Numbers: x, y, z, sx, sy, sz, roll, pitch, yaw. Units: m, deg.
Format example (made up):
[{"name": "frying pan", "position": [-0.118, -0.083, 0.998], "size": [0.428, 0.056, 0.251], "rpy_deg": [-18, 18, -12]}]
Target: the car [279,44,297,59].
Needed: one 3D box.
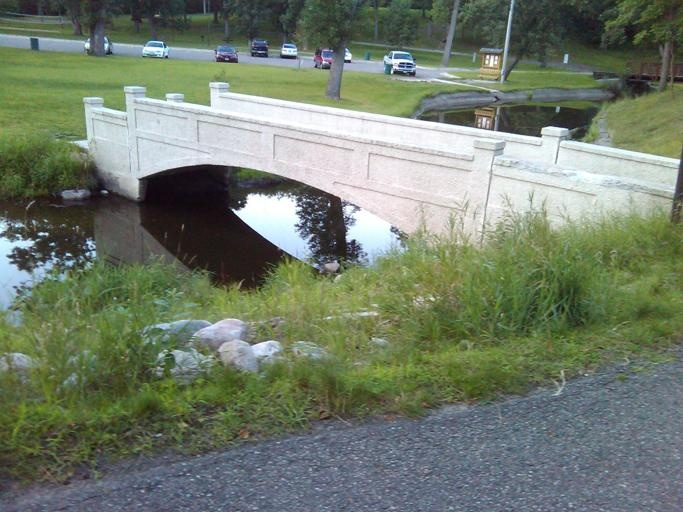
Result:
[{"name": "car", "position": [-3.453, -13.242, 51.789], "size": [0.793, 0.704, 1.546], "rpy_deg": [-5, 25, -11]}]

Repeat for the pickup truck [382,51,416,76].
[{"name": "pickup truck", "position": [3.389, -11.344, 47.186], "size": [1.164, 1.018, 2.876], "rpy_deg": [-2, 24, -3]}]

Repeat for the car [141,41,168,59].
[{"name": "car", "position": [-10.413, -11.562, 44.806], "size": [1.012, 0.710, 2.158], "rpy_deg": [0, 28, -10]}]

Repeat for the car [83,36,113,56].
[{"name": "car", "position": [-13.571, -11.812, 44.624], "size": [1.518, 0.948, 3.417], "rpy_deg": [-1, 17, -17]}]
